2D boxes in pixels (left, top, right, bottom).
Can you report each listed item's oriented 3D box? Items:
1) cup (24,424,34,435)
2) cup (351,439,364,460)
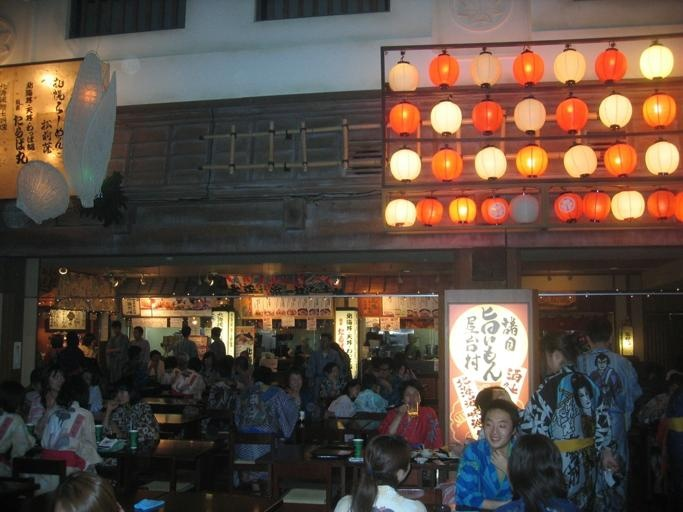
[{"bbox_3d":[-4.015,2.238,9.384,0.132,0.157,0.134,-2,-12,0],"label":"cup"},{"bbox_3d":[0.210,2.437,9.183,0.172,0.292,0.179,1,-8,0],"label":"cup"}]
